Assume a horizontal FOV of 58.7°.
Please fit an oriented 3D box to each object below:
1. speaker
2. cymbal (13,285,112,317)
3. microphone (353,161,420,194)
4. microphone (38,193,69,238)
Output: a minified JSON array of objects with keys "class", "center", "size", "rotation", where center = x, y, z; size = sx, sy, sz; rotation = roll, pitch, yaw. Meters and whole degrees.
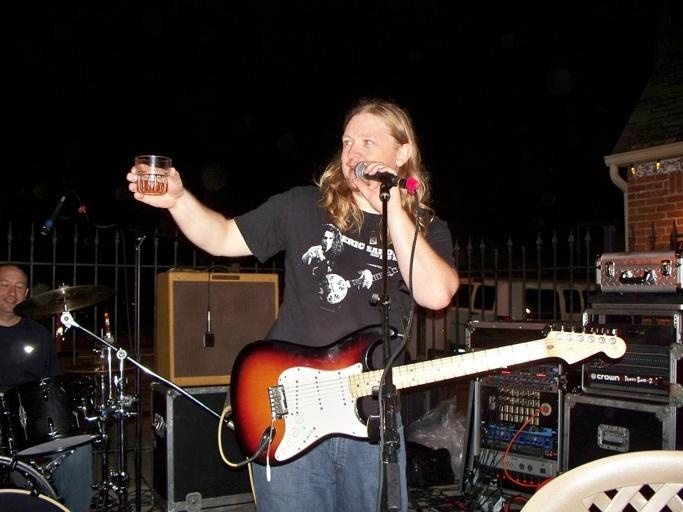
[{"class":"speaker","center":[-1.211,0.663,6.625],"size":[1.577,1.715,0.997],"rotation":[2,-2,-17]},{"class":"cymbal","center":[-2.716,0.431,5.960],"size":[0.882,0.260,0.527],"rotation":[-2,-9,-8]},{"class":"microphone","center":[0.236,-0.512,3.781],"size":[0.156,0.166,0.528],"rotation":[10,4,-38]},{"class":"microphone","center":[-2.537,-0.354,5.346],"size":[0.158,0.336,0.309],"rotation":[4,-11,-40]}]
